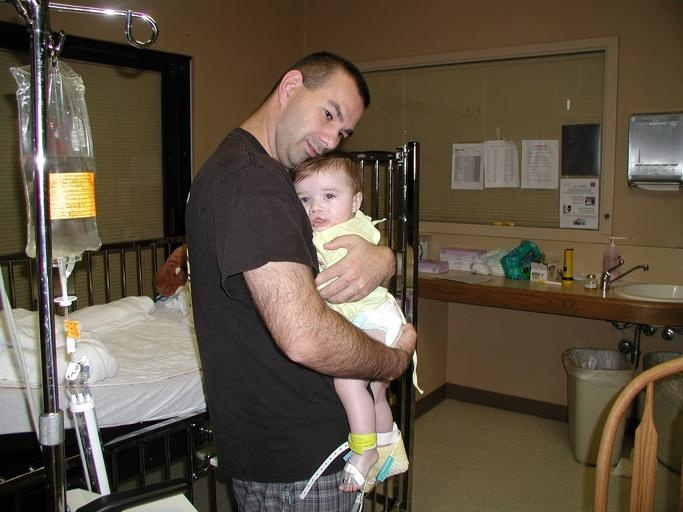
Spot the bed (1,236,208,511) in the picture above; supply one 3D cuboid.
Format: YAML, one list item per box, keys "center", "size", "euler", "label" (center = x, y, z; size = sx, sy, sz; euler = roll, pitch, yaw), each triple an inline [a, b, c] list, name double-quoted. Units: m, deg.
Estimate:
- center: [-1.609, 0.660, 3.458]
  size: [1.325, 0.907, 1.395]
  euler: [-2, 23, -11]
  label: "bed"
